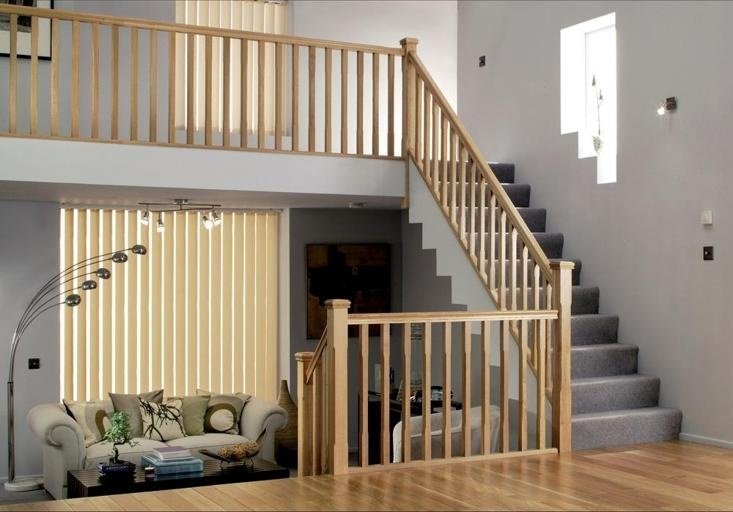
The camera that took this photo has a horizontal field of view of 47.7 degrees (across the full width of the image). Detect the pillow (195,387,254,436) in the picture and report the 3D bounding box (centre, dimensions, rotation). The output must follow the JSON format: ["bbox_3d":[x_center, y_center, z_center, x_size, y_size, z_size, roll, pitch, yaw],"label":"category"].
[{"bbox_3d":[-1.537,1.734,9.290,0.717,0.386,0.632,2,15,-1],"label":"pillow"}]

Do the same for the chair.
[{"bbox_3d":[0.630,1.528,7.160,0.629,0.610,0.643,1,-7,1],"label":"chair"}]

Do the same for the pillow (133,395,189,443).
[{"bbox_3d":[-2.220,1.772,8.917,0.416,0.428,0.153,2,-27,-20],"label":"pillow"}]

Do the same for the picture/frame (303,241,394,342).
[{"bbox_3d":[-0.255,0.367,9.278,1.190,1.238,0.097,1,-1,-26],"label":"picture/frame"}]

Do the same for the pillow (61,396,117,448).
[{"bbox_3d":[-2.856,1.725,8.517,0.183,0.354,0.406,-12,-2,22],"label":"pillow"}]

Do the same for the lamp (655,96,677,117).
[{"bbox_3d":[2.874,-1.424,7.901,0.053,0.131,0.180,-3,-1,-25],"label":"lamp"}]
